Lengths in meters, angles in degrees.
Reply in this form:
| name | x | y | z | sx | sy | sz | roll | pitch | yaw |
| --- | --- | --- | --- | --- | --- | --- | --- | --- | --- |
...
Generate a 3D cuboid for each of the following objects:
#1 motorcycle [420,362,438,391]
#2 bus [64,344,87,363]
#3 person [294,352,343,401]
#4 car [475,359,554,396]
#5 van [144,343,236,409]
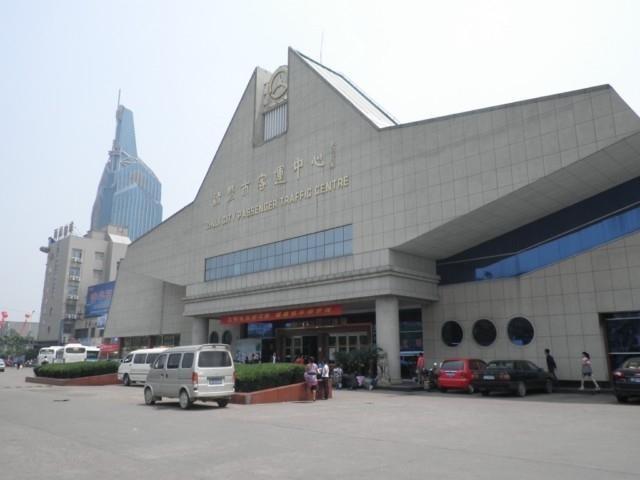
| name | x | y | z | sx | sy | sz | roll | pitch | yaw |
| --- | --- | --- | --- | --- | --- | --- | --- | --- | --- |
| motorcycle | 6.354 | 8.145 | 28.306 | 0.669 | 0.932 | 1.587 | -1 | -8 | 16 |
| bus | -26.808 | 12.452 | 53.455 | 2.372 | 1.996 | 2.655 | 10 | -20 | -26 |
| person | -0.198 | 6.560 | 22.886 | 1.438 | 1.943 | 0.932 | 17 | -22 | -42 |
| car | 9.345 | 6.694 | 23.460 | 3.987 | 1.712 | 1.223 | 15 | -22 | -36 |
| van | -5.472 | 5.526 | 19.628 | 3.974 | 2.441 | 1.666 | -8 | -19 | 26 |
